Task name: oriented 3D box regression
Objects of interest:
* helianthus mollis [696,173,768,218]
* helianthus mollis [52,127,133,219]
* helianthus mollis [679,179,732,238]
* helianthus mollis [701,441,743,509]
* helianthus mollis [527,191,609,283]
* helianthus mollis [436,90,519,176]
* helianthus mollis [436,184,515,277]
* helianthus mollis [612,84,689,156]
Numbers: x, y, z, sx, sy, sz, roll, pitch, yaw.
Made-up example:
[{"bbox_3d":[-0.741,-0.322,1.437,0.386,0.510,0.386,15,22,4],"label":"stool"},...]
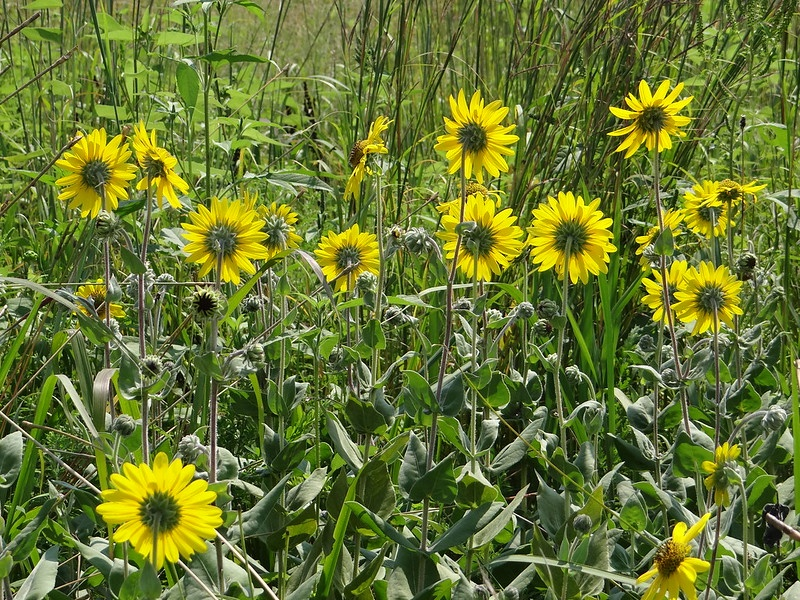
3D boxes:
[{"bbox_3d":[1.070,-0.346,3.210,0.172,0.113,0.176,-23,29,-31],"label":"helianthus mollis"},{"bbox_3d":[-0.839,-0.369,2.738,0.241,0.115,0.287,-9,-7,20],"label":"helianthus mollis"},{"bbox_3d":[1.001,-0.300,3.271,0.181,0.074,0.210,-25,-17,28],"label":"helianthus mollis"},{"bbox_3d":[0.856,0.465,2.545,0.116,0.179,0.134,5,-1,-26],"label":"helianthus mollis"},{"bbox_3d":[0.493,-0.151,2.841,0.248,0.354,0.118,11,46,16],"label":"helianthus mollis"},{"bbox_3d":[0.199,-0.437,2.699,0.234,0.308,0.120,-5,59,10],"label":"helianthus mollis"},{"bbox_3d":[0.223,-0.211,2.827,0.215,0.104,0.246,12,43,36],"label":"helianthus mollis"},{"bbox_3d":[0.727,-0.521,2.841,0.222,0.117,0.244,11,-1,9],"label":"helianthus mollis"}]
